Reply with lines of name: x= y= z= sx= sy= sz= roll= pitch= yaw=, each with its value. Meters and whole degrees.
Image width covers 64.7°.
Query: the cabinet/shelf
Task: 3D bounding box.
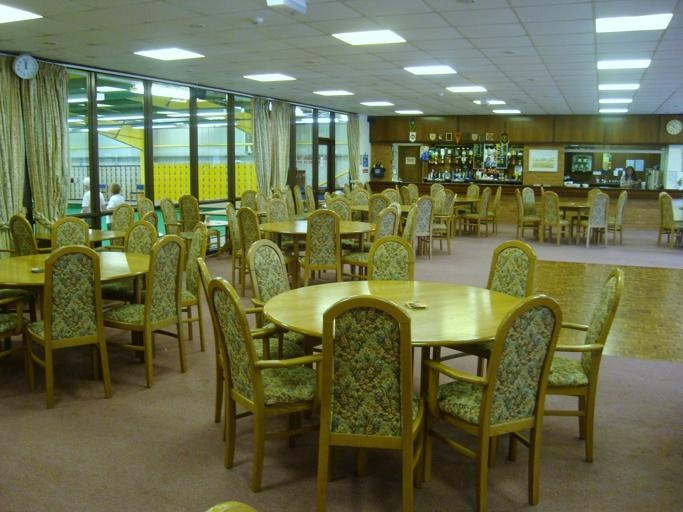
cabinet/shelf: x=4.024 y=-2.986 z=16.673 sx=2.902 sy=1.124 sz=0.670 roll=3 pitch=10 yaw=30

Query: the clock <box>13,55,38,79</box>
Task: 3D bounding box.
clock: x=-4.333 y=-2.649 z=7.425 sx=0.113 sy=0.382 sz=0.362 roll=3 pitch=2 yaw=21

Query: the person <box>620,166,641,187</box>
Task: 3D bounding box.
person: x=8.271 y=-2.333 z=15.436 sx=0.522 sy=0.593 sz=0.989 roll=3 pitch=11 yaw=29
